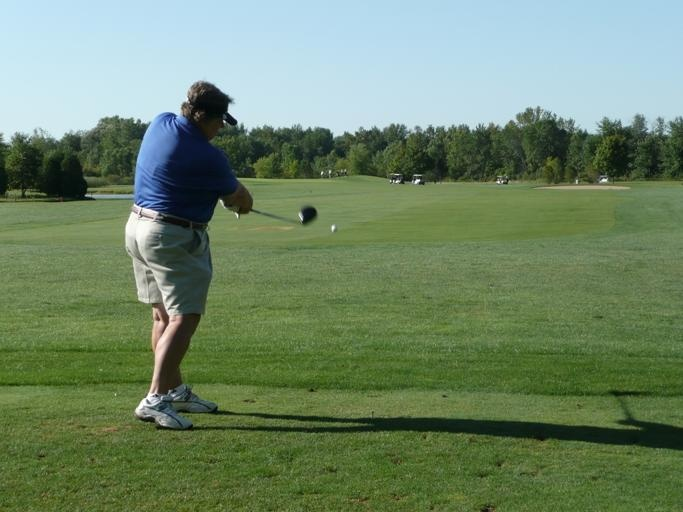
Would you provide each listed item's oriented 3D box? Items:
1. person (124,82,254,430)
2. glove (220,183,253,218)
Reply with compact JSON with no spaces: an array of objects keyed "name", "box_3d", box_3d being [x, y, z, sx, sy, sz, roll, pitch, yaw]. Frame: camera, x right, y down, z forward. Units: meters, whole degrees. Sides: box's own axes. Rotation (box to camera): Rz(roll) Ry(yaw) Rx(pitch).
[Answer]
[{"name":"person","box_3d":[-1.344,-0.056,8.165,0.956,2.858,0.926,1,5,-11]},{"name":"glove","box_3d":[-0.925,-0.513,8.506,0.205,0.136,0.343,9,-5,14]}]
